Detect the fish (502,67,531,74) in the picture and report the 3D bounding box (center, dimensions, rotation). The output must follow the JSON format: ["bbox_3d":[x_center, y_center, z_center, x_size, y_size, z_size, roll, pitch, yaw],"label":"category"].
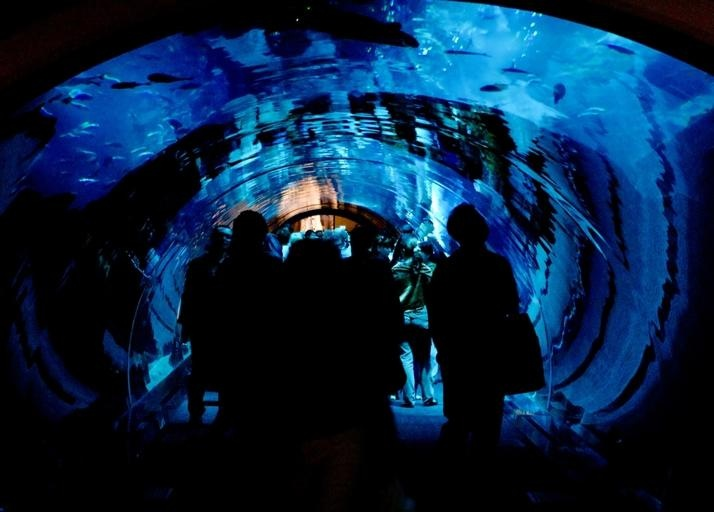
[{"bbox_3d":[1.801,-2.100,5.261,0.292,0.073,0.100,4,14,15],"label":"fish"}]

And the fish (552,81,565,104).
[{"bbox_3d":[2.333,-1.873,5.327,0.132,0.196,0.268,6,15,23],"label":"fish"}]

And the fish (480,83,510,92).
[{"bbox_3d":[1.675,-2.057,5.663,0.158,0.092,0.346,-9,16,-35],"label":"fish"}]
